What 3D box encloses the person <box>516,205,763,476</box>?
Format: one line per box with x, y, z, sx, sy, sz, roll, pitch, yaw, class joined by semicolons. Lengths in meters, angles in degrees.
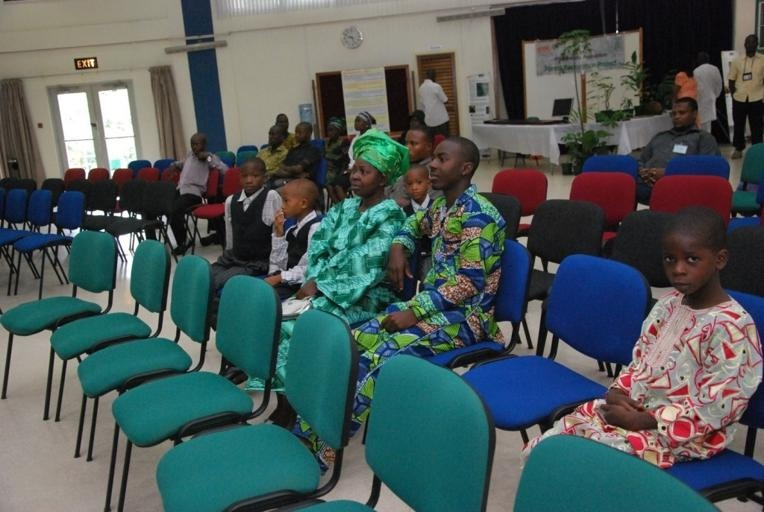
1.208;0.337;2.669;0.747;1.026;0.396;-4;11;5;person
